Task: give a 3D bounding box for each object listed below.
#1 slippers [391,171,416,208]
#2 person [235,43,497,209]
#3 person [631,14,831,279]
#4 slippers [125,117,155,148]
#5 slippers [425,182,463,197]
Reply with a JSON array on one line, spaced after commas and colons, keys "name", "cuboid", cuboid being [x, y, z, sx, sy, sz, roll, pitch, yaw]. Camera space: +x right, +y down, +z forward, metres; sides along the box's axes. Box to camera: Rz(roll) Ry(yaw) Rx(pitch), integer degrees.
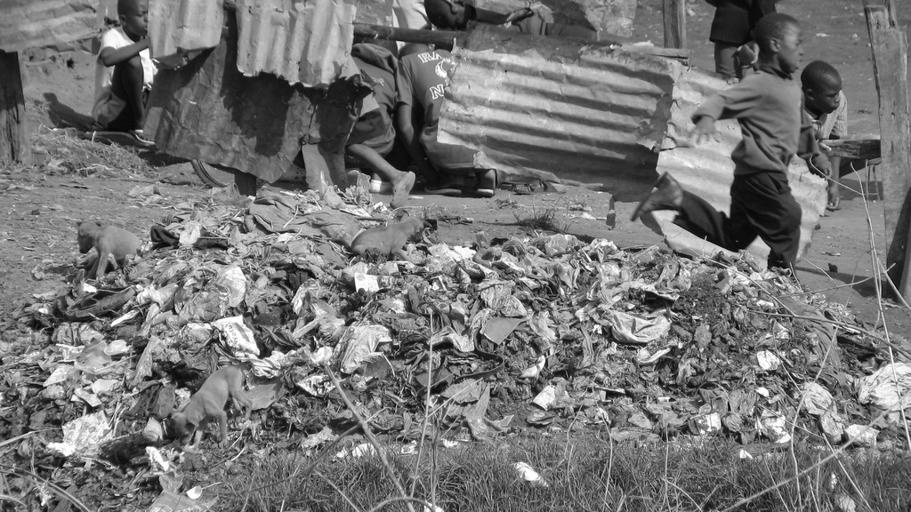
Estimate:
[{"name": "slippers", "cuboid": [-0.562, -0.729, 10.277, 0.224, 0.177, 0.502, -32, 24, 34]}, {"name": "person", "cuboid": [-0.835, -1.657, 11.023, 1.580, 1.058, 2.097, -13, 49, -32]}, {"name": "person", "cuboid": [2.904, -1.172, 9.186, 1.346, 2.453, 0.522, 8, 14, 19]}, {"name": "slippers", "cuboid": [-3.786, -1.470, 10.954, 0.172, 0.210, 0.504, -38, 75, -22]}, {"name": "slippers", "cuboid": [-0.154, -0.800, 11.022, 0.322, 0.103, 0.196, 3, 6, 13]}]
